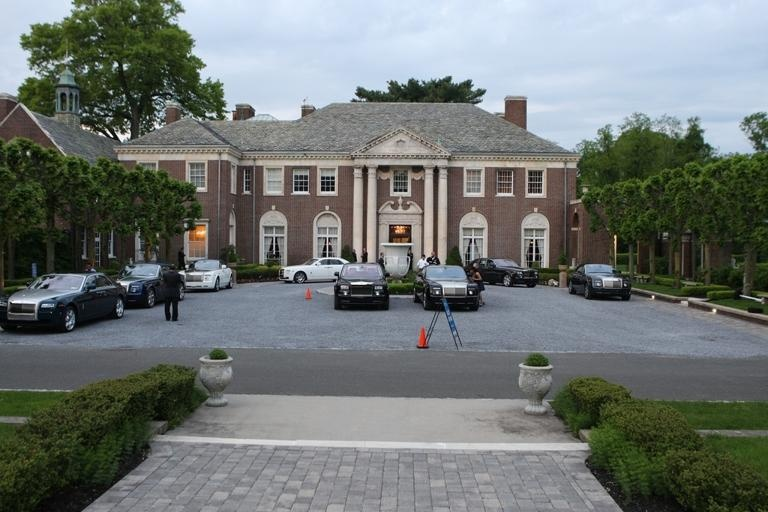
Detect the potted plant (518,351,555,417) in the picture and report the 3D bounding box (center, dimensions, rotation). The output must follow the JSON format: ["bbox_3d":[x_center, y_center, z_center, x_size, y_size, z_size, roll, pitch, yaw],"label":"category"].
[{"bbox_3d":[2.992,2.495,13.088,0.592,1.139,0.707,3,6,15],"label":"potted plant"}]

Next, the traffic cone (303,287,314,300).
[{"bbox_3d":[-3.546,1.801,31.625,0.487,0.620,0.529,9,-15,-42],"label":"traffic cone"}]

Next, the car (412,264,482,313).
[{"bbox_3d":[2.563,1.368,26.791,1.632,1.238,3.862,0,-4,-4],"label":"car"}]

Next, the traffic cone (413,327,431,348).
[{"bbox_3d":[1.116,2.361,18.848,0.474,0.656,0.517,0,-6,-2],"label":"traffic cone"}]

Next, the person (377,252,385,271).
[{"bbox_3d":[-0.148,0.279,38.243,0.327,0.385,1.141,-19,-30,2],"label":"person"}]

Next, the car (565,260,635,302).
[{"bbox_3d":[10.683,1.292,32.762,1.818,1.664,3.042,1,5,-9],"label":"car"}]

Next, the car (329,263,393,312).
[{"bbox_3d":[-0.919,1.349,27.694,1.686,1.426,3.274,0,-5,-1],"label":"car"}]
